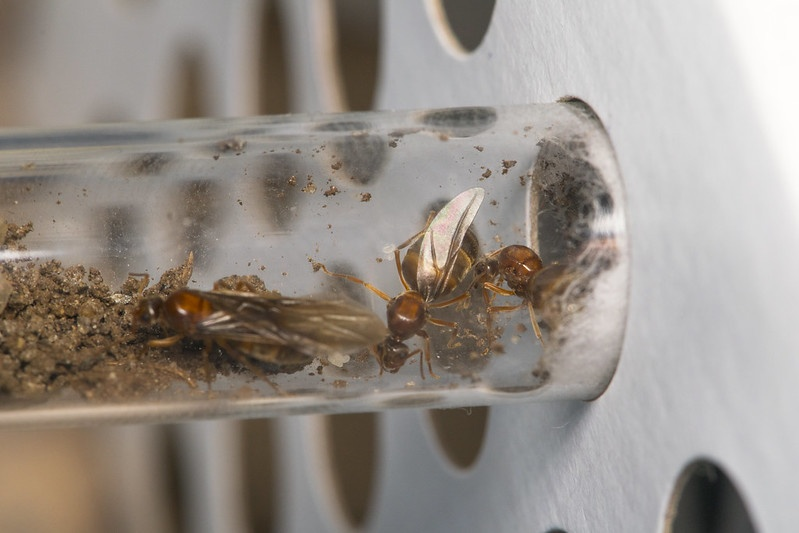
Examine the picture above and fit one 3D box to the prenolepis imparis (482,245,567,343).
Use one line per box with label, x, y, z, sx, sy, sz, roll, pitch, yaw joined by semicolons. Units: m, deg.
prenolepis imparis;0.223;0.022;1.974;0.164;0.095;0.160;-36;38;-30
